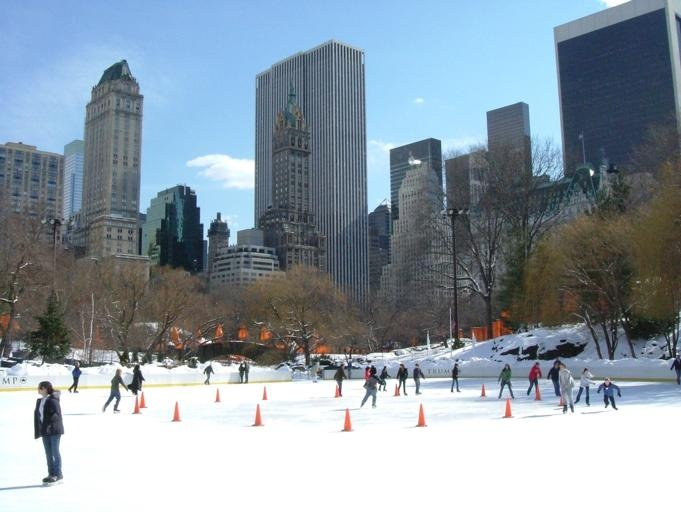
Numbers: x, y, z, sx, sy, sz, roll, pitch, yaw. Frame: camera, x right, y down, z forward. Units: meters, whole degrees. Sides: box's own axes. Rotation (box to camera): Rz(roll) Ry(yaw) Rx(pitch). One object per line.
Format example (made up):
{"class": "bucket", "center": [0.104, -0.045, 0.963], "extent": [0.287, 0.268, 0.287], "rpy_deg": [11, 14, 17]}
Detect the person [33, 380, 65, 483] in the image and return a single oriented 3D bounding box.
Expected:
{"class": "person", "center": [-10.237, 6.197, 29.450], "extent": [0.959, 3.512, 0.671], "rpy_deg": [-2, -6, -4]}

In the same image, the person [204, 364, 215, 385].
{"class": "person", "center": [-9.417, 8.395, 59.142], "extent": [0.595, 1.394, 1.237], "rpy_deg": [-1, -7, -8]}

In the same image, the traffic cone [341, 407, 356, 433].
{"class": "traffic cone", "center": [0.319, 6.999, 35.474], "extent": [0.723, 1.158, 0.810], "rpy_deg": [0, -8, -8]}

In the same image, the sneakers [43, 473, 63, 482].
{"class": "sneakers", "center": [-10.124, 7.813, 29.309], "extent": [0.565, 0.282, 0.258], "rpy_deg": [10, -11, -17]}

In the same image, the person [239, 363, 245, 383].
{"class": "person", "center": [-7.167, 8.522, 60.668], "extent": [0.394, 1.349, 1.266], "rpy_deg": [-1, -7, -8]}
